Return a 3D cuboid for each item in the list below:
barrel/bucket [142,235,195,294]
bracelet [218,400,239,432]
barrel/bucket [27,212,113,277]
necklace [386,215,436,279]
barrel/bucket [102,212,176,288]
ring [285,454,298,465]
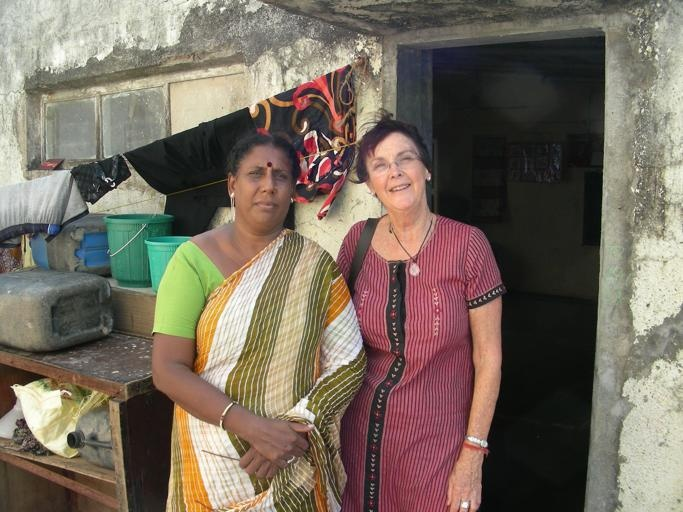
[{"bbox_3d":[-1.042,0.043,4.522,0.345,0.401,0.373,1,2,0],"label":"barrel/bucket"},{"bbox_3d":[-0.463,0.673,3.202,0.024,0.096,0.093,20,31,-7],"label":"bracelet"},{"bbox_3d":[-1.698,-0.047,4.816,0.350,0.239,0.453,-3,5,-38],"label":"barrel/bucket"},{"bbox_3d":[0.322,-0.033,3.481,0.246,0.318,0.030,-4,-11,15],"label":"necklace"},{"bbox_3d":[-1.303,-0.045,4.872,0.401,0.408,0.423,0,4,0],"label":"barrel/bucket"},{"bbox_3d":[-0.210,0.871,3.251,0.035,0.046,0.049,1,2,9],"label":"ring"}]
